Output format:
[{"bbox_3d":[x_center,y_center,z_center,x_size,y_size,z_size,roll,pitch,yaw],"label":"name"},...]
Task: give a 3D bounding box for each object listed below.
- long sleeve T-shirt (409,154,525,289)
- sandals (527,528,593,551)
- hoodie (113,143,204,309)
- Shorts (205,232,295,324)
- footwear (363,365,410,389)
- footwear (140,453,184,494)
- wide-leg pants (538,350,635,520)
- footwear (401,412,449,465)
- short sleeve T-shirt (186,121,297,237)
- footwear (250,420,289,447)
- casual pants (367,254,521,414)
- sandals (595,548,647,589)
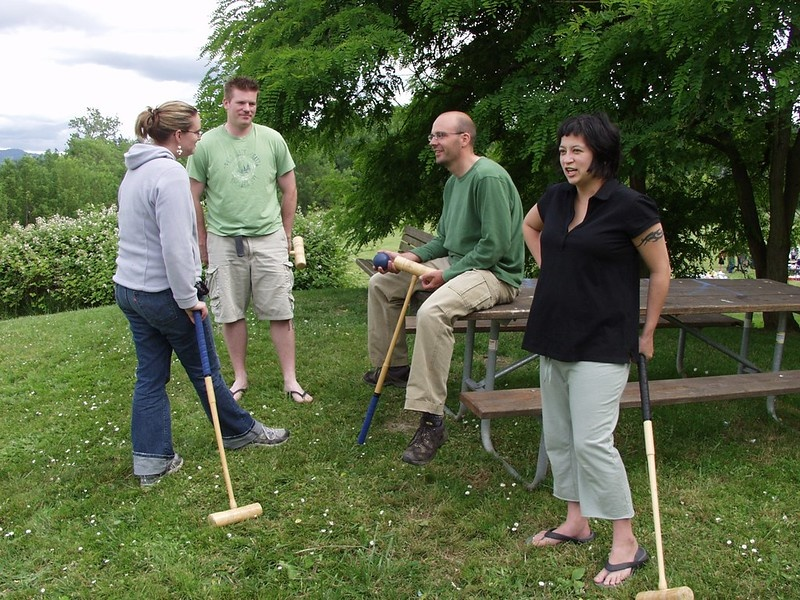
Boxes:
[{"bbox_3d":[0.532,-0.637,5.572,0.861,1.069,1.005,-2,11,-18],"label":"long sleeve T-shirt"},{"bbox_3d":[1.023,1.495,4.384,0.394,0.097,0.149,3,-7,4],"label":"sandals"},{"bbox_3d":[-1.704,-0.511,4.742,0.613,1.116,0.251,5,11,22],"label":"hoodie"},{"bbox_3d":[-1.298,-0.212,5.890,0.770,0.979,0.375,-1,0,-11],"label":"Shorts"},{"bbox_3d":[-0.162,0.704,6.488,0.472,0.244,0.187,2,3,18],"label":"footwear"},{"bbox_3d":[-1.713,1.243,4.989,0.122,0.158,0.360,4,17,23],"label":"footwear"},{"bbox_3d":[1.121,0.836,4.180,0.627,0.980,0.341,5,11,24],"label":"wide-leg pants"},{"bbox_3d":[0.184,1.042,5.245,0.169,0.353,0.364,7,12,33],"label":"footwear"},{"bbox_3d":[-1.354,-1.004,5.791,1.070,1.064,0.571,-3,9,-21],"label":"short sleeve T-shirt"},{"bbox_3d":[-1.022,1.040,5.362,0.317,0.141,0.123,-3,11,-15],"label":"footwear"},{"bbox_3d":[0.352,0.224,5.711,1.013,1.120,1.261,-2,11,-17],"label":"casual pants"},{"bbox_3d":[1.339,1.604,4.122,0.379,0.093,0.142,-26,41,9],"label":"sandals"}]
